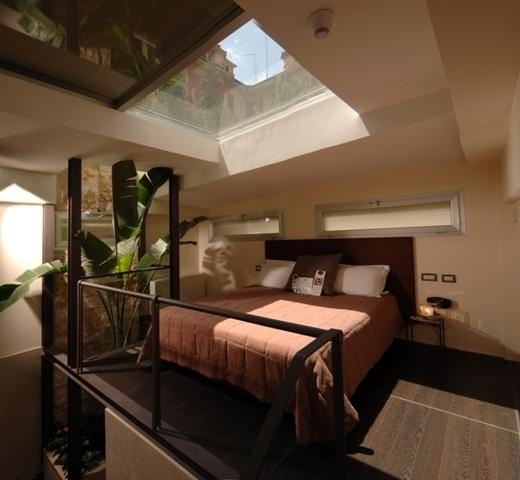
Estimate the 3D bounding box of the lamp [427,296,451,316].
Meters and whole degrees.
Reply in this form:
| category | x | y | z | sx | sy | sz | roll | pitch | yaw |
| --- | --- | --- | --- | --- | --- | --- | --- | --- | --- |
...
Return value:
| category | x | y | z | sx | sy | sz | roll | pitch | yaw |
| --- | --- | --- | --- | --- | --- | --- | --- | --- | --- |
| lamp | 1.860 | 0.662 | 4.014 | 0.250 | 0.136 | 0.159 | 8 | 12 | 35 |

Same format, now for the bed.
| category | x | y | z | sx | sy | sz | roll | pitch | yaw |
| --- | --- | --- | --- | --- | --- | --- | --- | --- | --- |
| bed | 0.507 | 0.795 | 3.580 | 1.575 | 1.109 | 1.886 | -1 | -1 | 33 |

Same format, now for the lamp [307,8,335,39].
| category | x | y | z | sx | sy | sz | roll | pitch | yaw |
| --- | --- | --- | --- | --- | --- | --- | --- | --- | --- |
| lamp | 0.352 | -1.241 | 2.223 | 0.092 | 0.082 | 0.103 | 4 | -18 | -10 |
